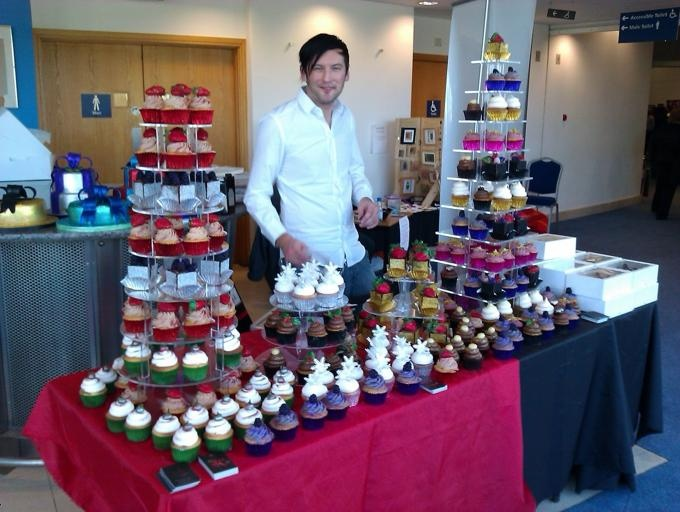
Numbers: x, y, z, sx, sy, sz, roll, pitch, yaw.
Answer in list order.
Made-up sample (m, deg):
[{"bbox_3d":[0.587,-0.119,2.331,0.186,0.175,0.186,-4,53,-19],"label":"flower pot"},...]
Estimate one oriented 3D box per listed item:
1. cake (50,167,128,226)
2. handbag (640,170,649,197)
[{"bbox_3d":[-1.568,-0.362,3.138,0.495,0.323,0.335,12,19,31],"label":"cake"},{"bbox_3d":[6.427,-1.514,10.643,0.145,0.609,0.868,7,17,29],"label":"handbag"}]
